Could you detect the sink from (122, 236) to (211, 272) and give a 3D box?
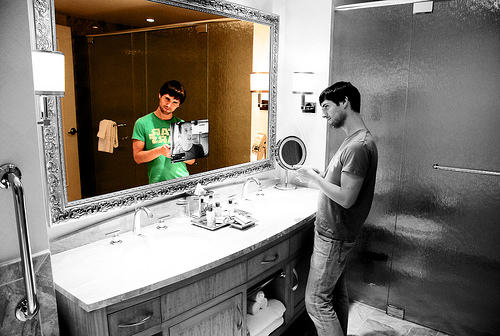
[{"bbox_3d":[-0.552,0.576,2.276,0.580,0.143,0.291,-15,19,-40],"label":"sink"}]

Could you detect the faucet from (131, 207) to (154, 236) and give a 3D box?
[{"bbox_3d":[-0.738,0.362,2.290,0.109,0.216,0.313,-9,16,-28],"label":"faucet"}]

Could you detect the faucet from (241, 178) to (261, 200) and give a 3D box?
[{"bbox_3d":[-0.002,0.170,3.006,0.156,0.239,0.373,-2,14,-1],"label":"faucet"}]

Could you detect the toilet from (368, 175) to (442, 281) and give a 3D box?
[{"bbox_3d":[1.383,0.504,3.005,0.447,0.814,0.823,-10,14,-39],"label":"toilet"}]
